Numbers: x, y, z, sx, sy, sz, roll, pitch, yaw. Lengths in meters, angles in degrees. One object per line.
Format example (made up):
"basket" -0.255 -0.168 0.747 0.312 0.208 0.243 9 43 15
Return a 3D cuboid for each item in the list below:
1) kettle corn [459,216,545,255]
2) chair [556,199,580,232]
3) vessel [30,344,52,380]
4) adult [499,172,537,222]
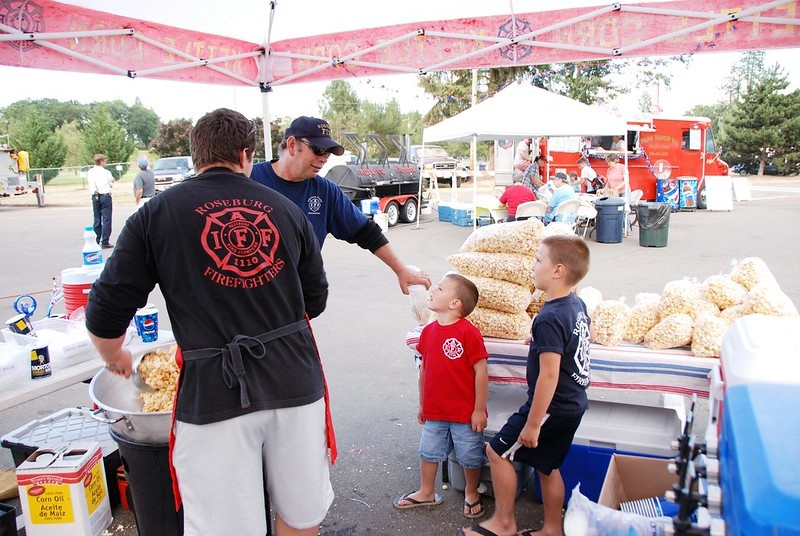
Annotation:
"kettle corn" 0.760 -0.205 3.691 0.409 0.128 0.318 -4 11 44
"chair" 3.427 -1.112 10.400 0.439 0.597 0.799 3 9 19
"vessel" -2.107 0.550 2.961 0.093 0.201 0.047 -8 12 -42
"adult" 2.474 -1.443 10.604 0.693 1.051 0.600 -14 20 -20
